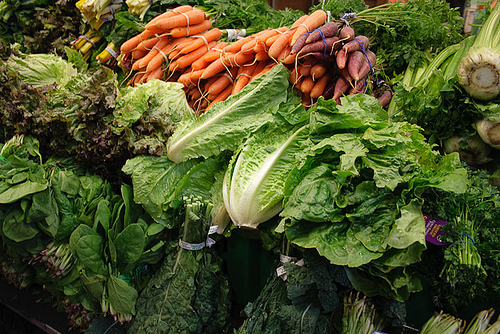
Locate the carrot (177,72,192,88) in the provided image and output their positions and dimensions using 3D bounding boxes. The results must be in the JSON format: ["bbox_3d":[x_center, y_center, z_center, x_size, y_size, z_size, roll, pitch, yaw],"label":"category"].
[{"bbox_3d":[-0.734,-1.000,4.477,0.115,0.172,0.059,-10,-32,32],"label":"carrot"}]

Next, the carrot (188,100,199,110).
[{"bbox_3d":[-0.647,-0.722,4.579,0.102,0.081,0.107,-4,4,2],"label":"carrot"}]

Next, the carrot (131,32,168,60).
[{"bbox_3d":[-1.200,-1.409,4.697,0.147,0.524,0.127,55,5,-11],"label":"carrot"}]

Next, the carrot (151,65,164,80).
[{"bbox_3d":[-1.073,-1.098,4.602,0.082,0.182,0.058,11,-26,4],"label":"carrot"}]

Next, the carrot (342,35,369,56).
[{"bbox_3d":[1.053,-1.236,3.982,0.124,0.375,0.116,25,-38,34],"label":"carrot"}]

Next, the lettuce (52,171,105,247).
[{"bbox_3d":[-1.720,0.369,4.060,0.574,0.273,0.598,4,22,-3],"label":"lettuce"}]

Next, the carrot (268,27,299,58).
[{"bbox_3d":[0.353,-1.313,4.204,0.104,0.468,0.108,34,-15,38],"label":"carrot"}]

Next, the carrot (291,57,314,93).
[{"bbox_3d":[0.543,-0.975,4.084,0.070,0.308,0.069,21,17,-13],"label":"carrot"}]

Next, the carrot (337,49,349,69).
[{"bbox_3d":[0.907,-1.080,3.919,0.103,0.184,0.046,10,-21,5],"label":"carrot"}]

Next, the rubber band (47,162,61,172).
[{"bbox_3d":[-2.048,-0.001,4.137,0.110,0.033,0.026,40,-46,31],"label":"rubber band"}]

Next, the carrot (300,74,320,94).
[{"bbox_3d":[0.620,-0.879,4.133,0.107,0.243,0.078,7,-38,41],"label":"carrot"}]

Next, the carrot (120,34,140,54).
[{"bbox_3d":[-1.396,-1.444,4.687,0.108,0.302,0.098,51,-3,-4],"label":"carrot"}]

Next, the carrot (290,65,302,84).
[{"bbox_3d":[0.461,-0.962,4.139,0.065,0.188,0.086,7,24,-37],"label":"carrot"}]

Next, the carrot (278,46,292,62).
[{"bbox_3d":[0.361,-1.201,4.205,0.058,0.182,0.088,40,-7,-23],"label":"carrot"}]

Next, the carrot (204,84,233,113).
[{"bbox_3d":[-0.349,-0.739,4.260,0.085,0.439,0.074,37,-15,28],"label":"carrot"}]

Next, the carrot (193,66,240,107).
[{"bbox_3d":[-0.360,-0.904,4.375,0.109,0.596,0.084,42,-4,19],"label":"carrot"}]

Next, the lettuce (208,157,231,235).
[{"bbox_3d":[-0.313,0.248,4.044,0.277,0.955,0.265,7,-55,-6],"label":"lettuce"}]

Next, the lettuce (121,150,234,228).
[{"bbox_3d":[-0.726,0.144,3.961,0.879,0.832,0.348,45,-27,30],"label":"lettuce"}]

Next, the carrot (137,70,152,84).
[{"bbox_3d":[-1.208,-1.048,4.574,0.058,0.248,0.055,18,-24,24],"label":"carrot"}]

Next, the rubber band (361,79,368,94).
[{"bbox_3d":[1.177,-0.849,4.082,0.015,0.140,0.020,-6,-23,-23],"label":"rubber band"}]

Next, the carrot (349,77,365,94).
[{"bbox_3d":[1.070,-0.813,3.968,0.099,0.160,0.036,43,-21,-24],"label":"carrot"}]

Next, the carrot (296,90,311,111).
[{"bbox_3d":[0.566,-0.690,4.171,0.065,0.160,0.063,29,12,13],"label":"carrot"}]

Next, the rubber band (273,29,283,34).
[{"bbox_3d":[0.313,-1.525,4.415,0.069,0.018,0.067,28,11,-18],"label":"rubber band"}]

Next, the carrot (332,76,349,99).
[{"bbox_3d":[0.924,-0.820,4.079,0.138,0.236,0.060,30,-6,3],"label":"carrot"}]

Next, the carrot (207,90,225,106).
[{"bbox_3d":[-0.384,-0.785,4.455,0.064,0.287,0.082,52,3,-41],"label":"carrot"}]

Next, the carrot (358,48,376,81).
[{"bbox_3d":[1.176,-1.029,4.017,0.176,0.343,0.067,23,-26,-9],"label":"carrot"}]

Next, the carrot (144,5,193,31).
[{"bbox_3d":[-0.943,-1.733,4.599,0.133,0.509,0.137,56,-6,-6],"label":"carrot"}]

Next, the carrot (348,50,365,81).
[{"bbox_3d":[1.041,-1.027,3.913,0.144,0.298,0.074,15,-28,-9],"label":"carrot"}]

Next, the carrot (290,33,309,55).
[{"bbox_3d":[0.503,-1.259,4.047,0.090,0.312,0.090,18,-24,45],"label":"carrot"}]

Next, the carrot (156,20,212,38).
[{"bbox_3d":[-0.791,-1.606,4.585,0.083,0.403,0.086,87,-19,-51],"label":"carrot"}]

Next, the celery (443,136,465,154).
[{"bbox_3d":[1.950,-0.212,3.804,0.158,0.123,0.138,-6,3,-32],"label":"celery"}]

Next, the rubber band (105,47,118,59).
[{"bbox_3d":[-1.694,-1.422,4.876,0.122,0.030,0.121,47,-14,-5],"label":"rubber band"}]

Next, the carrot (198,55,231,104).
[{"bbox_3d":[-0.452,-0.999,4.388,0.154,0.477,0.119,32,7,-15],"label":"carrot"}]

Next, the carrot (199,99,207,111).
[{"bbox_3d":[-0.529,-0.709,4.477,0.039,0.122,0.063,29,10,-46],"label":"carrot"}]
